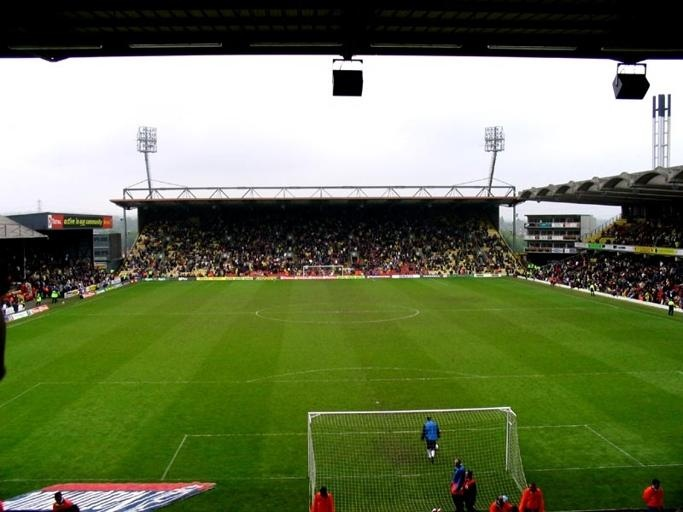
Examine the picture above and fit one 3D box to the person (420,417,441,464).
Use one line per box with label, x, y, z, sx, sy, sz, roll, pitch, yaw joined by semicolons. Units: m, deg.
person;2.751;5.498;18.989;0.523;1.133;1.197;0;5;9
